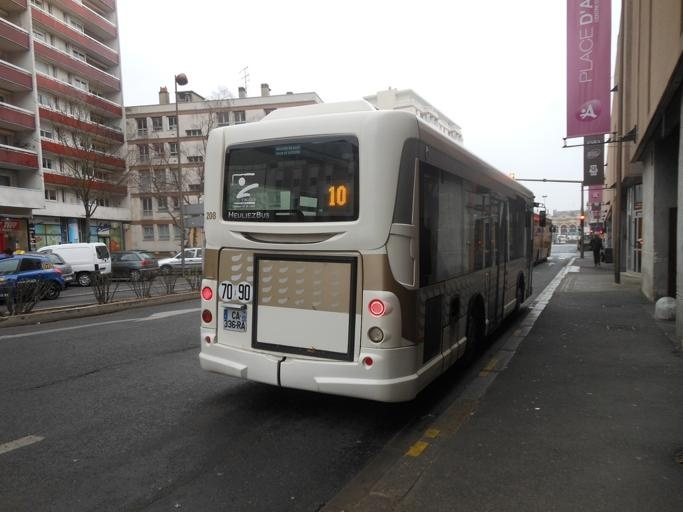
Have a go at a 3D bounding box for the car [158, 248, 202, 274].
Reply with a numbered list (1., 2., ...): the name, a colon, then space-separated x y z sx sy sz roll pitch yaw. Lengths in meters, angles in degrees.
1. car: -9.838 0.152 31.192 2.166 1.505 8.674 -2 5 -17

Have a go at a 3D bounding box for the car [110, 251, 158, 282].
1. car: -10.850 0.523 26.144 2.304 1.271 1.381 3 1 8
